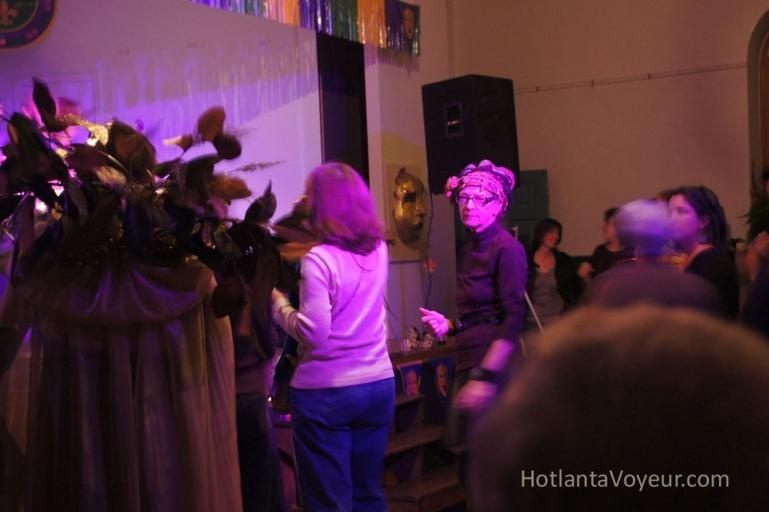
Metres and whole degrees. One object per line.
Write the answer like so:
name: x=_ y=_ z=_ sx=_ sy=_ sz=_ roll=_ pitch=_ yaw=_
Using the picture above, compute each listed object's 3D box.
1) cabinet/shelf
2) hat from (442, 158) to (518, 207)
cabinet/shelf: x=0.236 y=0.864 z=3.840 sx=0.127 sy=0.554 sz=0.570 roll=-1 pitch=-4 yaw=15
hat: x=0.464 y=-0.335 z=2.867 sx=0.228 sy=0.155 sz=0.263 roll=0 pitch=-8 yaw=40
